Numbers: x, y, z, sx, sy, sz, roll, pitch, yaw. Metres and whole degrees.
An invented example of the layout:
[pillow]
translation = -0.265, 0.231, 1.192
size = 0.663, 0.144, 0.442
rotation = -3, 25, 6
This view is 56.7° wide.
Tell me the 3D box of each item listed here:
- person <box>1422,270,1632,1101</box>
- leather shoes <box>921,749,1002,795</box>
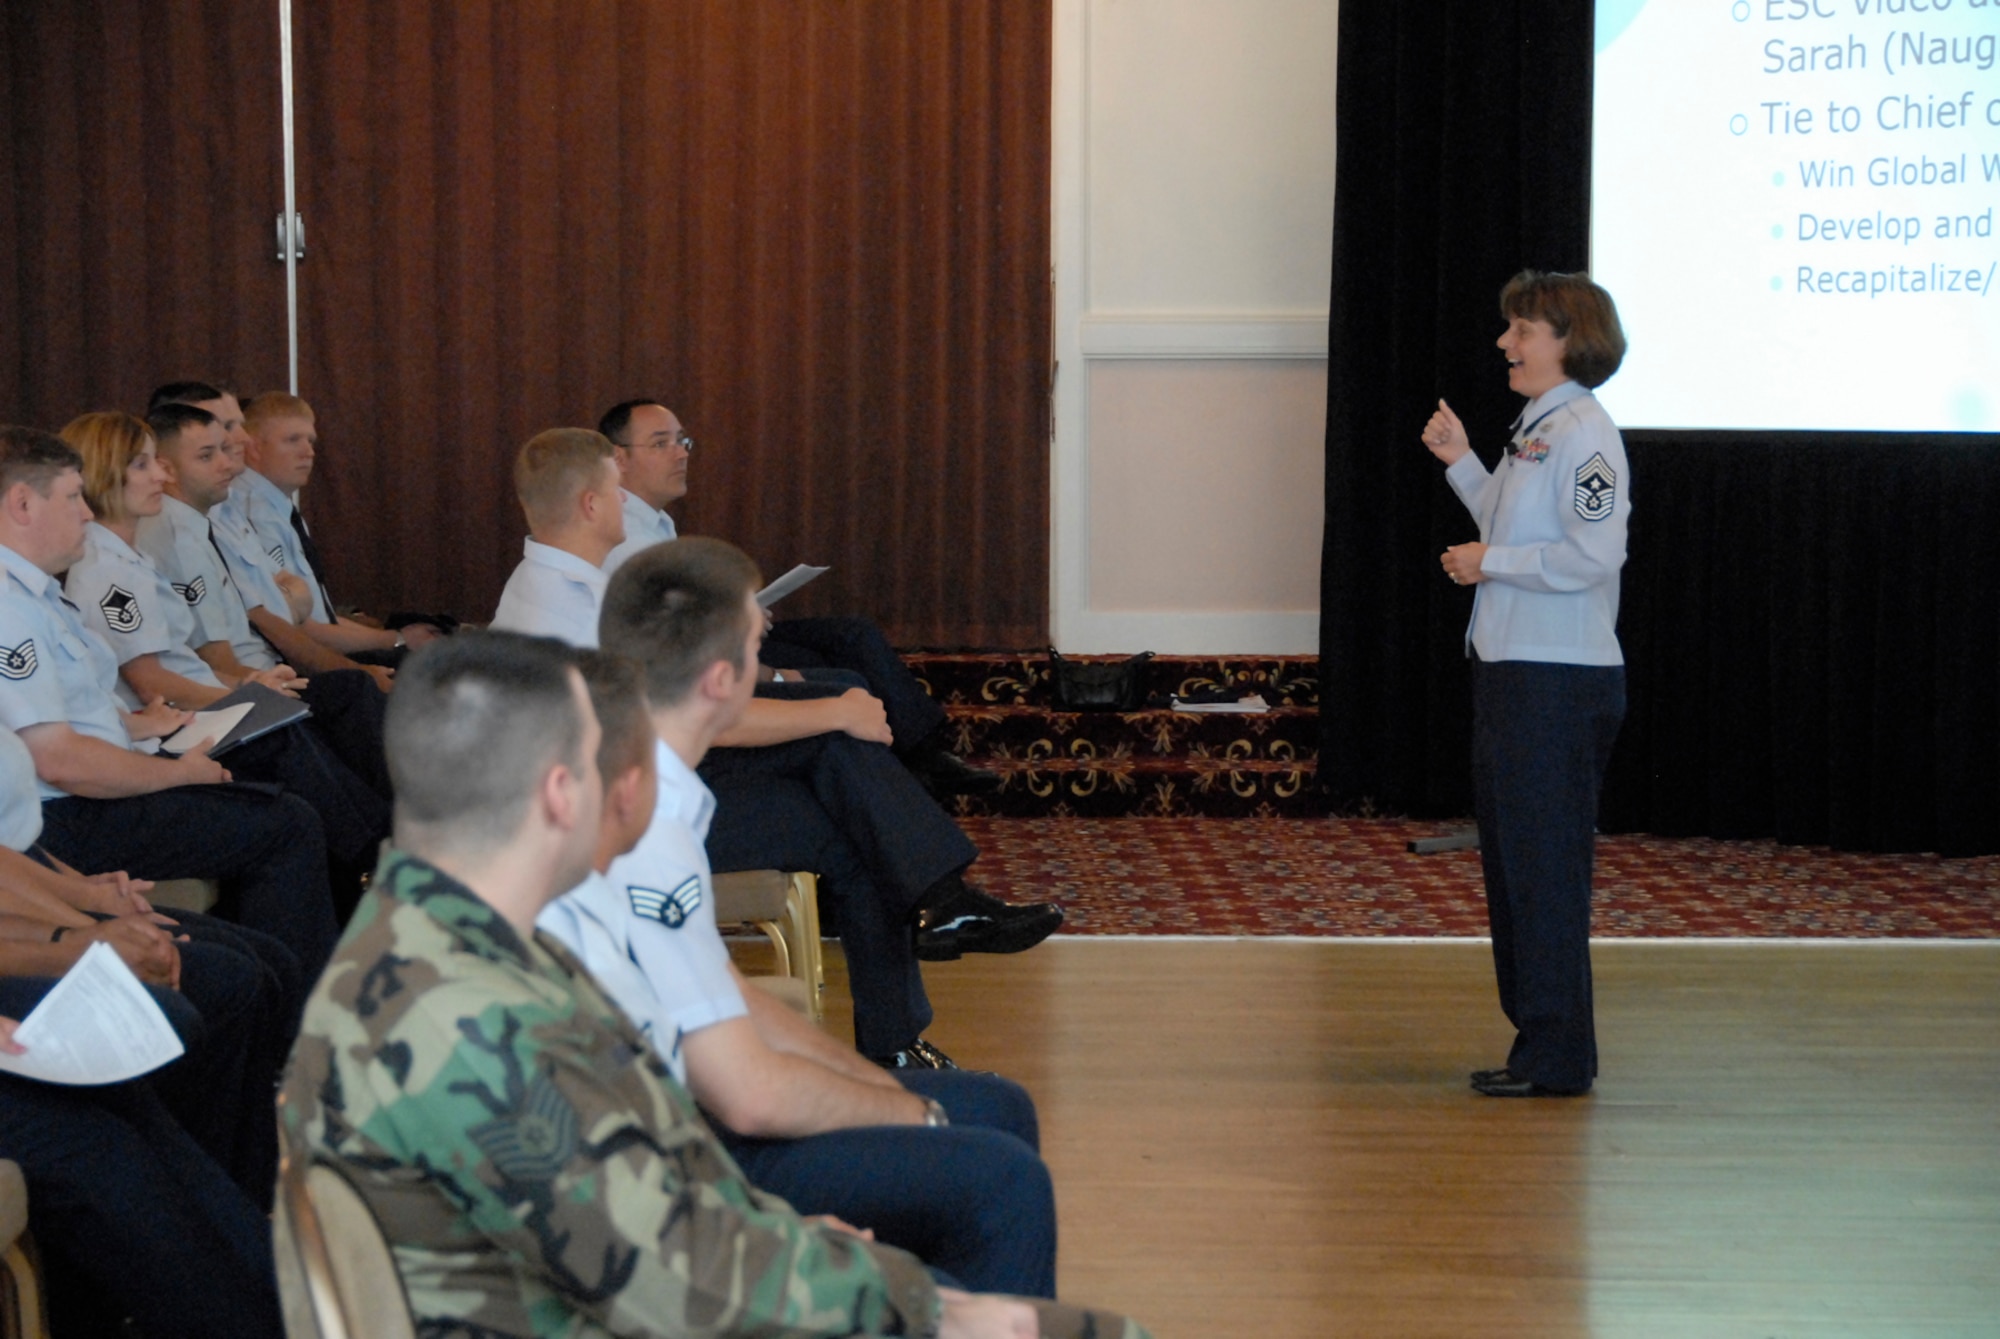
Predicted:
[person]
translation = 1.285, 0.020, 4.546
size = 0.489, 1.939, 0.596
rotation = 3, 12, 14
[leather shoes]
translation = -0.154, 0.301, 5.217
size = 0.184, 0.069, 0.231
rotation = 4, 0, -22
